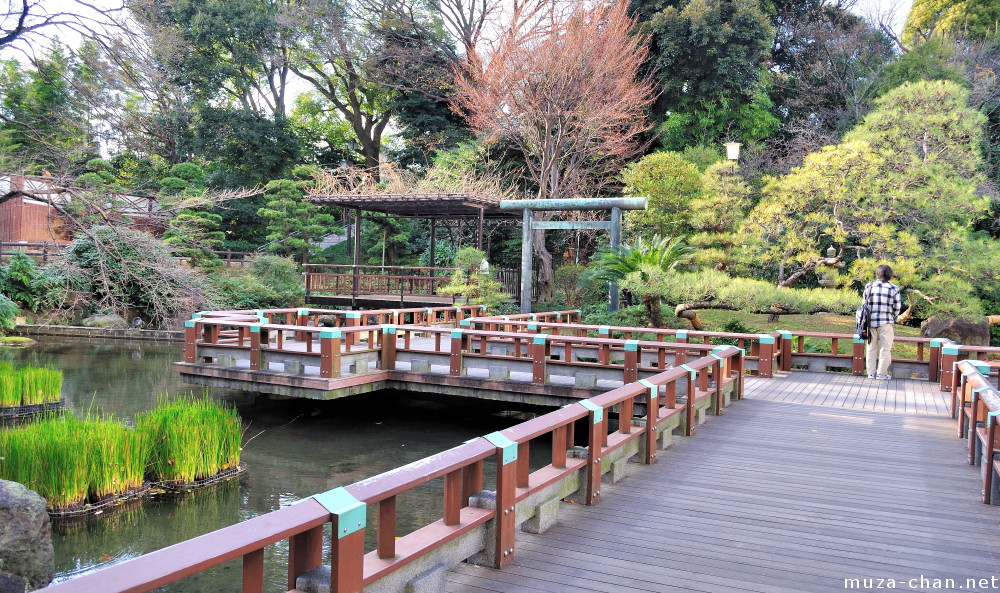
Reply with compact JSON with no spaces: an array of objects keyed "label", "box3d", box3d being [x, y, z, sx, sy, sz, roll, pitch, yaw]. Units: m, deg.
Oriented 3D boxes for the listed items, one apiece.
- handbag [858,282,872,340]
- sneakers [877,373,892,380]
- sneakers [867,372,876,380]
[{"label":"handbag","box3d":[7.088,0.331,16.026,0.341,1.276,0.569,3,39,22]},{"label":"sneakers","box3d":[7.655,1.614,16.426,0.330,0.107,0.137,1,-2,-18]},{"label":"sneakers","box3d":[7.383,1.603,16.417,0.128,0.083,0.119,0,-4,-24]}]
